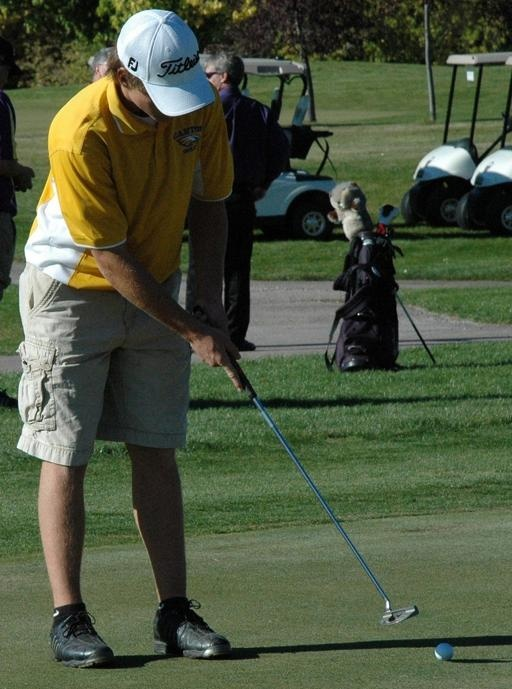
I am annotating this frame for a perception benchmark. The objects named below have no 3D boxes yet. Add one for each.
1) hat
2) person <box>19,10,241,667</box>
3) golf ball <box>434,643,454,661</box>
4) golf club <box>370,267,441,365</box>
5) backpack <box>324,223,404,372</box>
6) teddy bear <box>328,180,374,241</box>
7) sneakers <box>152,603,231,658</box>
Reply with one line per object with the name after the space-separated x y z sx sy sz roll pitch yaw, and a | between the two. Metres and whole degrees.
-0.259 -0.589 3.711 0.235 0.244 0.189 2 7 25 | hat
-0.370 0.028 3.903 0.676 1.536 0.704 -3 7 -11 | person
0.519 0.769 3.618 0.061 0.037 0.050 -2 7 -13 | golf ball
1.047 0.013 9.074 0.096 0.260 0.758 29 22 -47 | golf club
0.702 -0.079 8.512 0.411 0.699 0.415 6 -9 21 | backpack
0.620 -0.589 8.738 0.247 0.380 0.292 -5 14 -5 | teddy bear
-0.199 0.757 3.777 0.173 0.106 0.267 -4 7 -22 | sneakers
